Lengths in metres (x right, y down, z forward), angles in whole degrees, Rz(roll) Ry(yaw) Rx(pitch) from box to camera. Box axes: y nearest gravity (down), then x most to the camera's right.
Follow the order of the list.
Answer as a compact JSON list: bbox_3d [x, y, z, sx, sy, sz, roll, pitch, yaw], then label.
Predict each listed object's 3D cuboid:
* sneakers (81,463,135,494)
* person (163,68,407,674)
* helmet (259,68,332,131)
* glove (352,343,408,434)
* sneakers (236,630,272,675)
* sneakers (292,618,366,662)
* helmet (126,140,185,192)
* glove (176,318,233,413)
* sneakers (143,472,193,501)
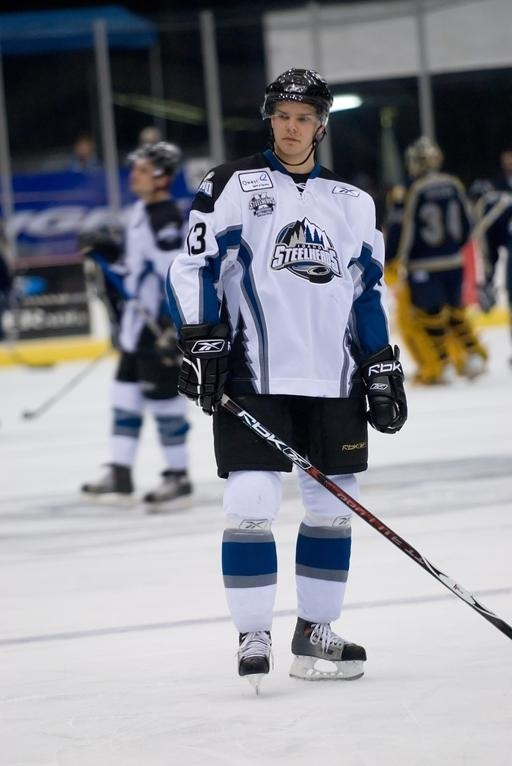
[{"bbox_3d":[-0.589,0.391,3.331,0.192,0.058,0.108,4,25,-8],"label":"sneakers"},{"bbox_3d":[0.074,-0.042,1.765,0.484,1.224,0.232,-4,3,-36],"label":"person"},{"bbox_3d":[0.088,-0.588,1.800,0.165,0.155,0.173,8,17,6],"label":"helmet"},{"bbox_3d":[0.293,0.009,1.859,0.130,0.085,0.212,-8,28,14],"label":"glove"},{"bbox_3d":[-0.005,0.530,1.637,0.067,0.076,0.114,-2,2,-2],"label":"sneakers"},{"bbox_3d":[0.144,0.549,1.817,0.178,0.095,0.066,-3,-11,19],"label":"sneakers"},{"bbox_3d":[-0.451,-0.950,3.663,0.215,0.225,0.252,1,-7,8],"label":"helmet"},{"bbox_3d":[-0.108,-0.029,1.665,0.108,0.175,0.087,-2,2,7],"label":"glove"},{"bbox_3d":[-0.371,0.446,3.623,0.242,0.135,0.075,-5,-19,-25],"label":"sneakers"}]
